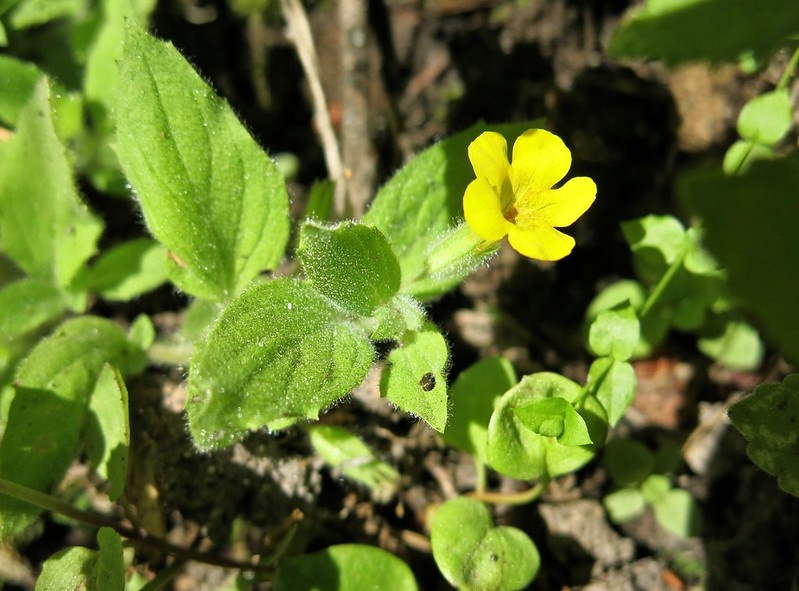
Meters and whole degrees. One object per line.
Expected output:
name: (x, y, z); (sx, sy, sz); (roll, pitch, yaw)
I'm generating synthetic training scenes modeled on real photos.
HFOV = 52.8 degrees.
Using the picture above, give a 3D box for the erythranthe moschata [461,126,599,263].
erythranthe moschata: (0.535, -0.438, 3.278); (0.538, 0.310, 0.551); (8, 76, 1)
